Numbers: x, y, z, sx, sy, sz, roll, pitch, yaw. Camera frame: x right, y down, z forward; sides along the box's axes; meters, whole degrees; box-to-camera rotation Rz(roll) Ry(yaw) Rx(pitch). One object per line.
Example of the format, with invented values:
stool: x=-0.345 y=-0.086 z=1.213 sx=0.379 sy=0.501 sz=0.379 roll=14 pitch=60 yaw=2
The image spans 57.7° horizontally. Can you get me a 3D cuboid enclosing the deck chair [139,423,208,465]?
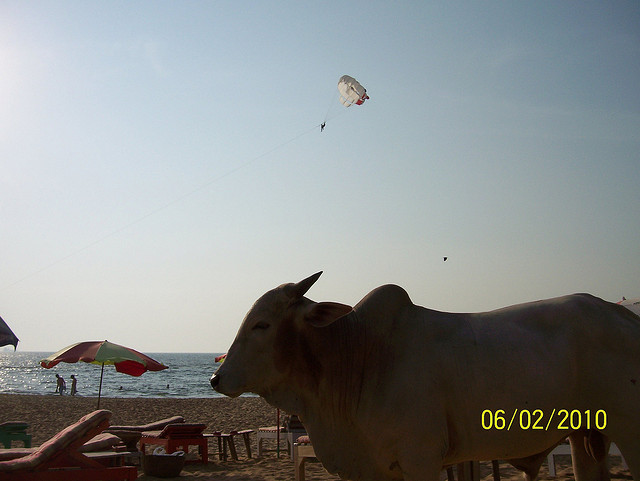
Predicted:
deck chair: x=-2.697 y=3.477 z=10.668 sx=0.737 sy=0.852 sz=1.328 roll=9 pitch=-13 yaw=-37

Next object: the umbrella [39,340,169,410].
umbrella: x=-4.680 y=2.949 z=12.513 sx=2.621 sy=1.837 sz=2.621 roll=3 pitch=-12 yaw=-21

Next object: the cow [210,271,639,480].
cow: x=0.730 y=0.811 z=3.915 sx=2.690 sy=1.537 sz=1.166 roll=-1 pitch=-14 yaw=5
